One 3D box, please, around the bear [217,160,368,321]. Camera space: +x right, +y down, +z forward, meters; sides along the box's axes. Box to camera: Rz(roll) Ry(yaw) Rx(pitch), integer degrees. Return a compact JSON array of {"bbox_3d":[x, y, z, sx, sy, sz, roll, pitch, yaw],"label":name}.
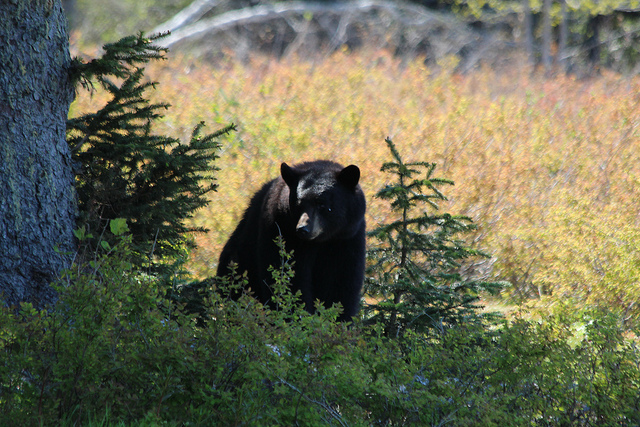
[{"bbox_3d":[-0.114,0.372,22.350,2.473,3.318,5.104,3,-6,-4],"label":"bear"}]
